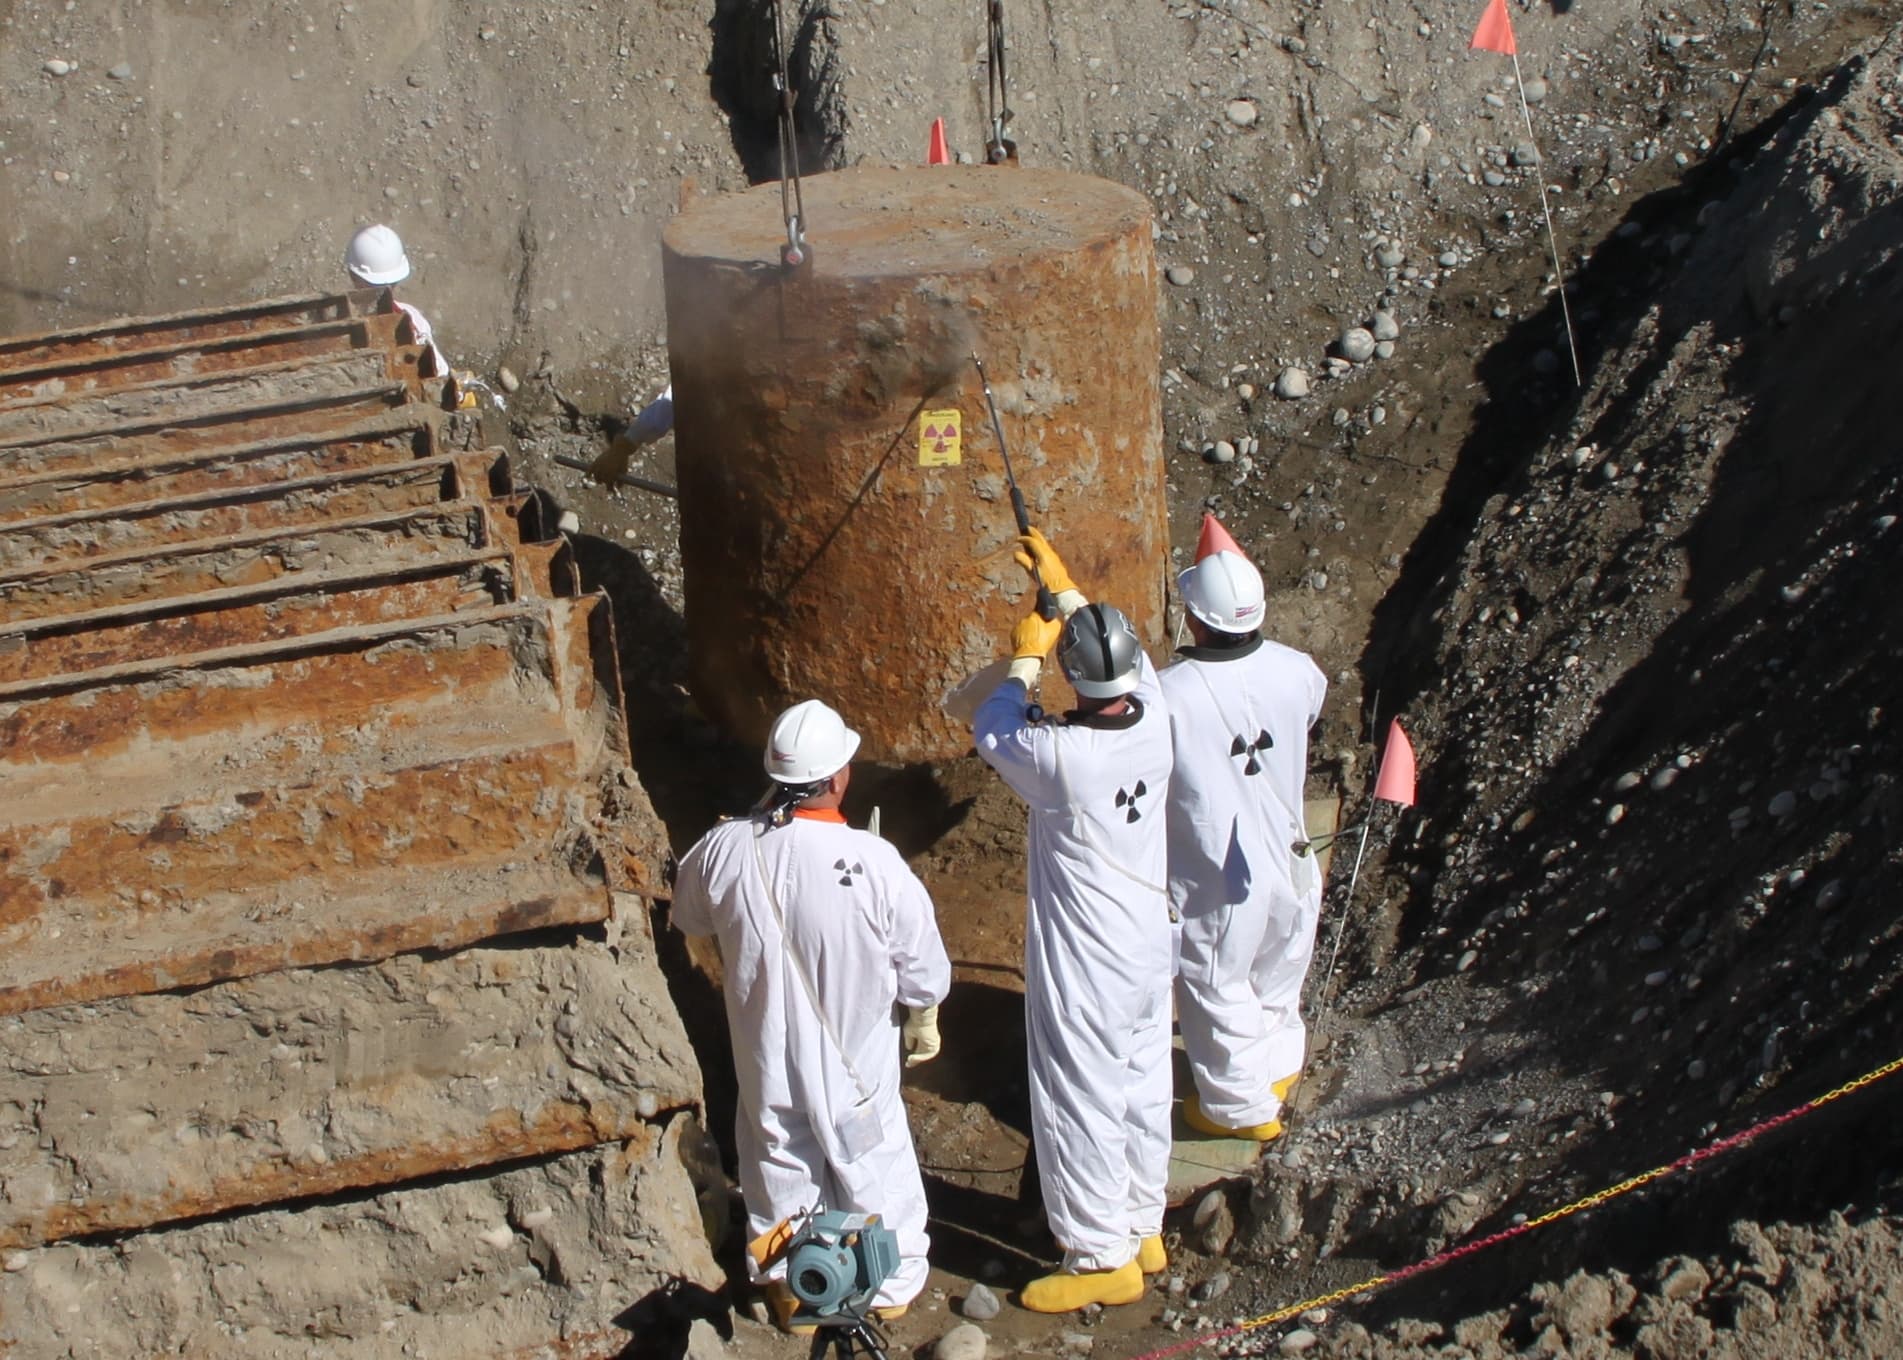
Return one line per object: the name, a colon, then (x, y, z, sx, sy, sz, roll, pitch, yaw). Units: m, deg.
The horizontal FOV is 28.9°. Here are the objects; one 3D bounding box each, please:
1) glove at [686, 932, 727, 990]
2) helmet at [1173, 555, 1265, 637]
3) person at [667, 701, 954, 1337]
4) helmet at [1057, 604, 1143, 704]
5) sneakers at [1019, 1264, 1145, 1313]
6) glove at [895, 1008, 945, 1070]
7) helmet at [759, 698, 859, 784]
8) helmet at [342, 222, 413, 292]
glove: (-1.130, 1.292, 17.151, 0.240, 0.066, 0.258, 14, 57, -48)
helmet: (1.200, -0.422, 16.498, 0.285, 0.250, 0.402, -19, 64, -10)
person: (-0.621, 1.484, 16.461, 1.136, 2.872, 0.926, 2, 18, 6)
helmet: (0.651, -0.182, 16.182, 0.308, 0.384, 0.426, -14, 32, -6)
sneakers: (0.578, 2.697, 16.365, 0.532, 0.264, 0.218, 0, 14, -3)
glove: (-0.153, 1.646, 17.005, 0.105, 0.356, 0.110, 8, 58, 6)
helmet: (-0.603, 0.282, 16.027, 0.290, 0.205, 0.383, 5, 34, 7)
helmet: (-3.020, -2.231, 19.526, 0.284, 0.202, 0.407, 0, 65, -23)
